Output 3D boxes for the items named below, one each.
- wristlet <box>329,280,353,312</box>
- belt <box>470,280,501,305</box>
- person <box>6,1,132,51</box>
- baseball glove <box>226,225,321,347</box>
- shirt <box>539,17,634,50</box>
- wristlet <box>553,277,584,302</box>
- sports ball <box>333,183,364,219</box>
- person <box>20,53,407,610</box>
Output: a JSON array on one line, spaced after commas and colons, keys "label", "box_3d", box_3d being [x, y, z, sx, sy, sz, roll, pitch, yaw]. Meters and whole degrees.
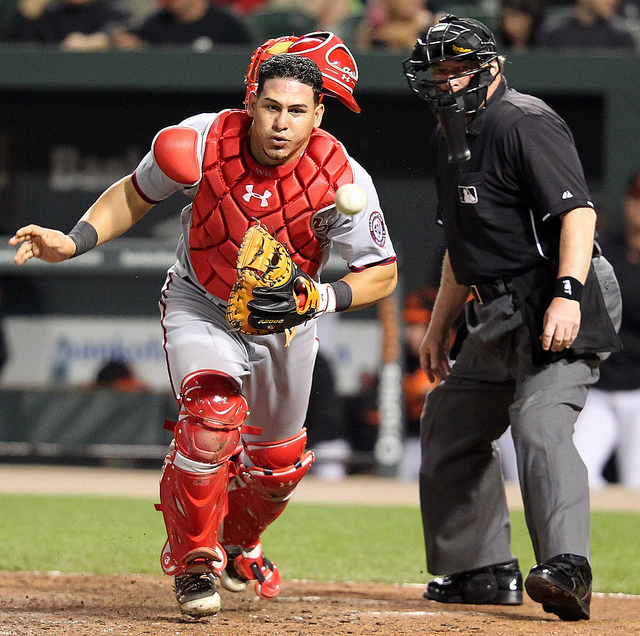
[{"label": "wristlet", "box_3d": [0.062, -0.076, 3.838, 0.073, 0.085, 0.090, 0, 28, -15]}, {"label": "belt", "box_3d": [0.571, -0.095, 4.091, 0.074, 0.038, 0.091, -19, 1, -3]}, {"label": "person", "box_3d": [-1.898, -2.200, 8.837, 0.904, 0.403, 0.832, 1, 7, -10]}, {"label": "baseball glove", "box_3d": [-0.145, -0.120, 3.717, 0.244, 0.341, 0.153, 6, 8, 23]}, {"label": "shirt", "box_3d": [2.064, -2.189, 9.018, 0.745, 0.307, 0.299, -2, 14, -1]}, {"label": "wristlet", "box_3d": [0.785, -0.099, 3.785, 0.087, 0.060, 0.086, 20, -4, -39]}, {"label": "sports ball", "box_3d": [0.096, -0.373, 3.682, 0.093, 0.096, 0.117, 5, 7, 19]}, {"label": "person", "box_3d": [-0.292, 0.061, 4.027, 0.998, 1.933, 0.621, 5, 8, 20]}]
